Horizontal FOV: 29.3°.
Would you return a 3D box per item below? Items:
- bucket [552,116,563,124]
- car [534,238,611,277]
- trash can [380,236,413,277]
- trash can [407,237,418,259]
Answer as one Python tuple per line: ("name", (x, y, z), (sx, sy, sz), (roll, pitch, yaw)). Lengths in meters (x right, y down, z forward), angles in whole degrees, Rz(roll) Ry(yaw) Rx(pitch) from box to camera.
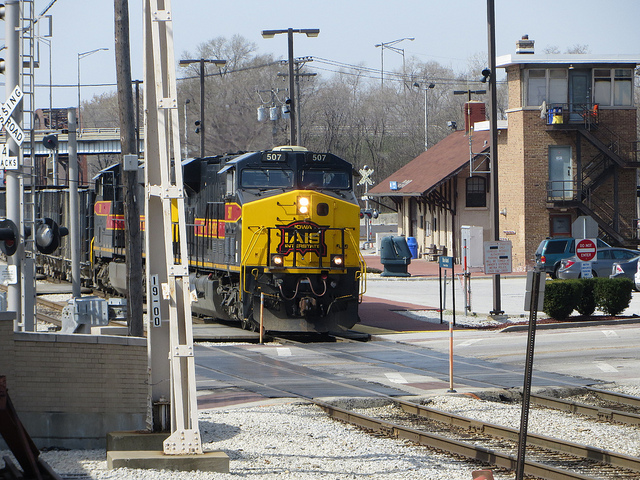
("bucket", (10.792, -5.471, 55.310), (0.327, 0.368, 0.342), (0, 14, 0))
("car", (9.441, 0.667, 45.515), (2.780, 1.262, 1.323), (-4, 3, -4))
("trash can", (3.363, 0.753, 53.676), (1.365, 1.718, 0.918), (0, 2, 23))
("trash can", (5.001, 0.382, 64.898), (0.944, 1.295, 0.944), (-1, -1, -2))
